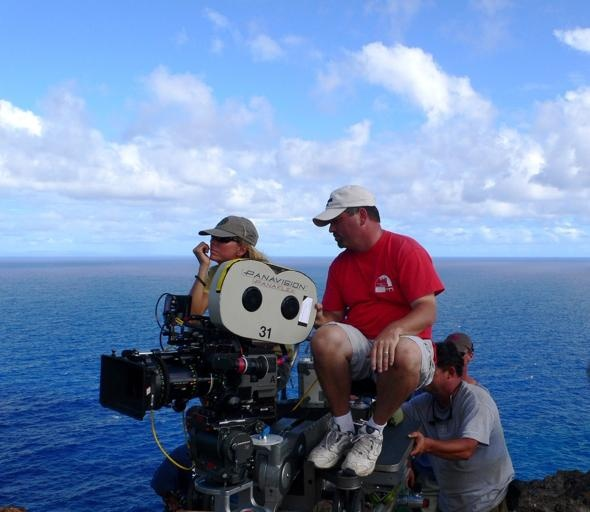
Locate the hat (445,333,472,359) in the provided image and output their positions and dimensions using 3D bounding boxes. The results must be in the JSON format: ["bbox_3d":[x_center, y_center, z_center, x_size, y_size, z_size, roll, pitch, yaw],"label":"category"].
[{"bbox_3d":[2.961,1.573,9.517,0.497,0.398,0.750,2,-11,19],"label":"hat"}]

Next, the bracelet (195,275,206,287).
[{"bbox_3d":[-1.224,0.316,6.884,0.138,0.037,0.140,43,-3,-10],"label":"bracelet"}]
